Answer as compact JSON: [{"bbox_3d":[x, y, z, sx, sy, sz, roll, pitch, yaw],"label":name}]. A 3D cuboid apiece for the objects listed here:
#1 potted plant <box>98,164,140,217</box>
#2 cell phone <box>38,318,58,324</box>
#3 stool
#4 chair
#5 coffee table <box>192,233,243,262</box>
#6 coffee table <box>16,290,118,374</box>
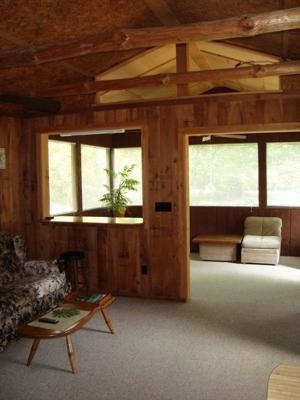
[{"bbox_3d":[-0.653,-0.230,7.962,0.812,1.139,1.109,-1,2,-2],"label":"potted plant"},{"bbox_3d":[-0.841,1.001,2.991,0.109,0.019,0.055,4,-1,9],"label":"cell phone"},{"bbox_3d":[-0.994,0.951,4.792,0.367,0.488,0.323,-6,-7,-8],"label":"stool"},{"bbox_3d":[2.050,0.740,6.657,0.688,0.654,0.864,2,13,21],"label":"chair"},{"bbox_3d":[1.291,0.925,6.848,0.875,0.431,0.760,-1,3,12],"label":"coffee table"},{"bbox_3d":[-0.736,0.881,3.090,0.470,0.351,1.090,1,3,14],"label":"coffee table"}]
